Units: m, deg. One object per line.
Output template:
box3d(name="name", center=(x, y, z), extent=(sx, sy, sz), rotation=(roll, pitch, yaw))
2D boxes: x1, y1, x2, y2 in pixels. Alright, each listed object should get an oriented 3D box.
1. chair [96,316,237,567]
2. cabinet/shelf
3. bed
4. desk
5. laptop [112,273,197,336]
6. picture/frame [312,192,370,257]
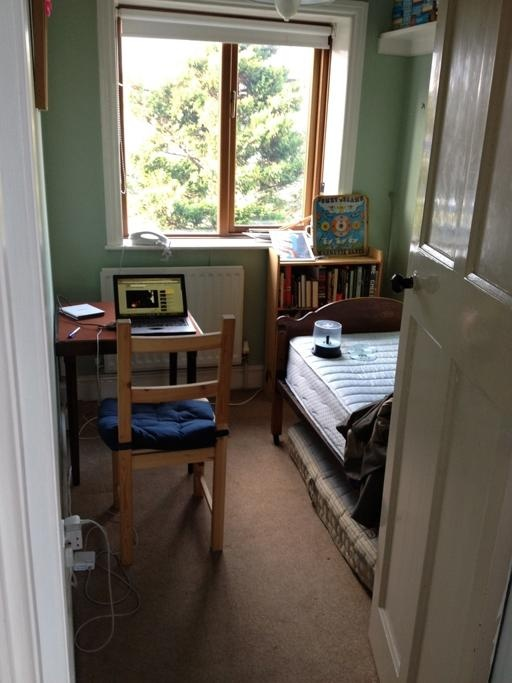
box3d(name="chair", center=(-0.398, 0.365, 2.254), extent=(0.569, 1.066, 0.702), rotation=(9, 17, 16))
box3d(name="cabinet/shelf", center=(0.508, -0.175, 3.402), extent=(0.663, 0.392, 1.186), rotation=(0, 44, 18))
box3d(name="bed", center=(0.550, 0.435, 2.650), extent=(0.732, 0.860, 1.132), rotation=(-4, 20, -15))
box3d(name="desk", center=(-0.702, 0.236, 2.781), extent=(0.631, 0.765, 0.613), rotation=(3, 17, -8))
box3d(name="laptop", center=(-0.537, -0.204, 2.629), extent=(0.327, 0.396, 0.268), rotation=(-2, 6, -13))
box3d(name="picture/frame", center=(0.595, -0.805, 3.580), extent=(0.377, 0.522, 0.051), rotation=(0, -24, 10))
